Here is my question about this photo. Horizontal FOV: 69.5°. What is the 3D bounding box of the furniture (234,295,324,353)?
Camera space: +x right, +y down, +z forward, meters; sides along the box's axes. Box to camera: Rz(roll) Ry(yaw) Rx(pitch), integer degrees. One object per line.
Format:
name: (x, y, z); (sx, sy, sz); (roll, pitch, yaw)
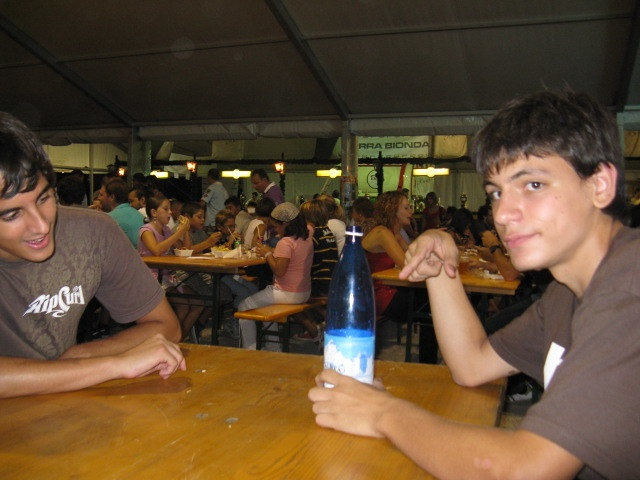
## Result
furniture: (-0.427, 0.918, 4.975); (0.352, 0.377, 1.168); (-12, -3, 15)

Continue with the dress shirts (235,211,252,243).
dress shirts: (-1.326, -0.216, 7.961); (0.333, 0.621, 0.566); (0, -2, 2)

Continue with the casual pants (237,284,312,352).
casual pants: (-0.489, 0.879, 5.159); (0.259, 0.331, 0.923); (1, 5, 15)

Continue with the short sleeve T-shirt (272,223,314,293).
short sleeve T-shirt: (-0.330, 0.206, 5.583); (0.503, 0.834, 0.891); (4, 9, 21)

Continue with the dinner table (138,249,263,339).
dinner table: (-1.305, 0.459, 5.345); (1.057, 1.013, 1.079); (1, -1, 26)

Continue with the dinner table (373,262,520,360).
dinner table: (1.262, 0.443, 4.488); (1.173, 0.901, 1.186); (10, 11, 26)
